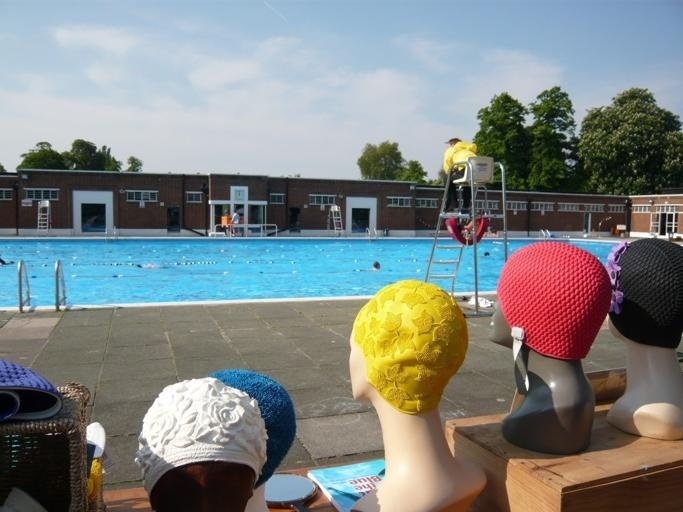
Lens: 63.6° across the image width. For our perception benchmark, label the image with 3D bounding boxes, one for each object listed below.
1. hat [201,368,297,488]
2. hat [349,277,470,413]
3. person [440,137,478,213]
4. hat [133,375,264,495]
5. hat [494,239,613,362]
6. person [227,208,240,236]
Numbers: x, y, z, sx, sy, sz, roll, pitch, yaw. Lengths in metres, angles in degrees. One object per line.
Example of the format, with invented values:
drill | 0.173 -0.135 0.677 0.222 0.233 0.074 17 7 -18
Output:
hat | -0.249 0.555 1.843 0.304 0.376 0.367 5 -6 -23
hat | 0.250 0.298 2.098 0.445 0.445 0.386 10 9 35
person | 1.962 -1.328 9.115 0.481 1.197 2.495 2 5 11
hat | -0.384 0.482 1.543 0.293 0.312 0.332 4 -13 -10
hat | 0.771 0.156 2.191 0.351 0.427 0.478 -3 9 -43
person | -6.524 -1.908 33.454 0.736 1.401 2.314 0 5 -12
